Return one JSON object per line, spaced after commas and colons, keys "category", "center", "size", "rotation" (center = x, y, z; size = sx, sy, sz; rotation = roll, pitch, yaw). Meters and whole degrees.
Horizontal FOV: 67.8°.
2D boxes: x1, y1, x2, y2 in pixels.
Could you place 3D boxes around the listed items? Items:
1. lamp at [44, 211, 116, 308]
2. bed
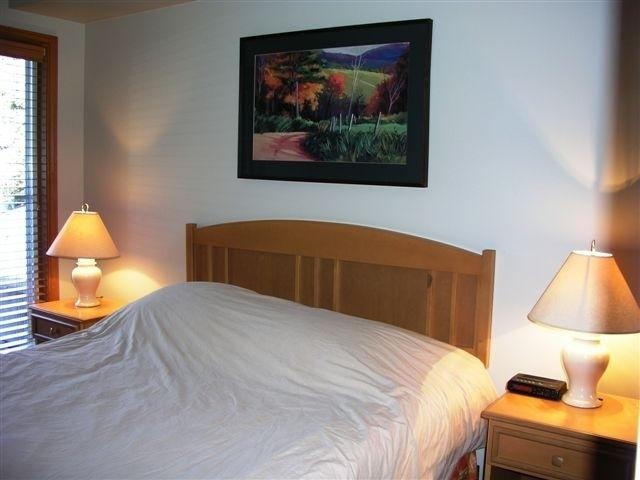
{"category": "lamp", "center": [-1.700, 0.120, 3.432], "size": [0.437, 0.700, 0.473], "rotation": [3, 6, -3]}
{"category": "bed", "center": [-0.259, 0.494, 2.336], "size": [2.086, 1.164, 1.327], "rotation": [5, 5, 25]}
